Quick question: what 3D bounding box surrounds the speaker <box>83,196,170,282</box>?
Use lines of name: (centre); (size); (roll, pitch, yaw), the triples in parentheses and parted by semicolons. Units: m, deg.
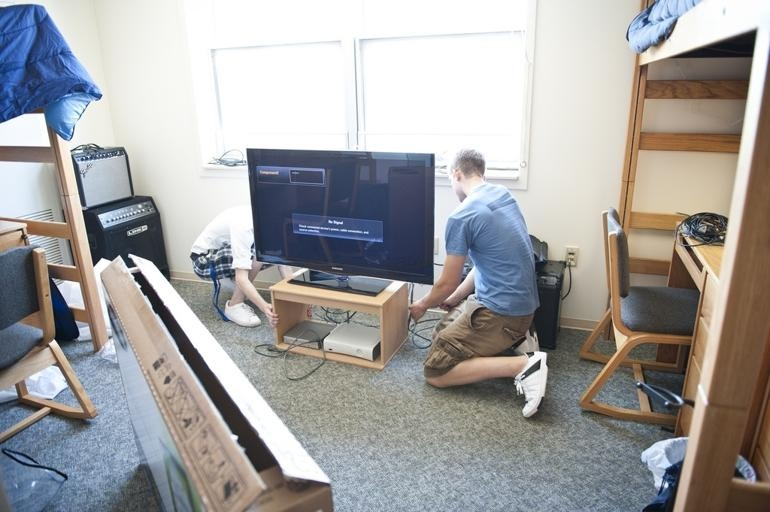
speaker: (-1.824, -0.157, 3.741); (0.221, 0.571, 0.505); (11, 29, 20)

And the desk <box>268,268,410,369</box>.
desk: (-0.210, 0.173, 3.518); (0.864, 0.496, 0.556); (6, 17, 20)

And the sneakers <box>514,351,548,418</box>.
sneakers: (0.808, 0.687, 2.980); (0.156, 0.313, 0.279); (7, 20, 25)

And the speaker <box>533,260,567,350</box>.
speaker: (1.056, 0.302, 3.478); (0.249, 0.436, 0.433); (2, 26, 16)

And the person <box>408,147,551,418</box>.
person: (0.576, 0.102, 3.106); (0.849, 1.357, 0.590); (9, 21, 29)

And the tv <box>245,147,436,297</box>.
tv: (-0.256, -0.221, 3.302); (0.951, 0.662, 0.250); (4, 20, 15)

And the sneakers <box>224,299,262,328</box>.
sneakers: (-1.050, 0.413, 3.931); (0.296, 0.118, 0.134); (16, 28, 25)
